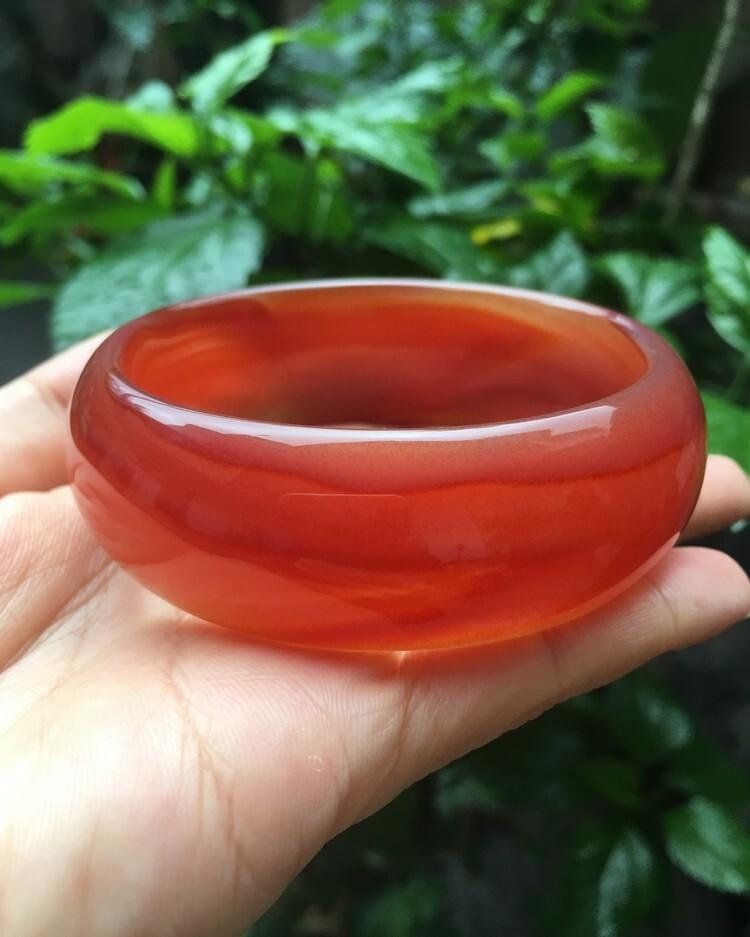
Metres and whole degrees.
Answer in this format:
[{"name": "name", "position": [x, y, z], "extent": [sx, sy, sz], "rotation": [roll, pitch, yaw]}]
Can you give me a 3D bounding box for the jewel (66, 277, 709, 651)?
[{"name": "jewel", "position": [0.005, -0.002, 0.617], "extent": [0.379, 0.112, 0.324], "rotation": [2, 19, 5]}]
